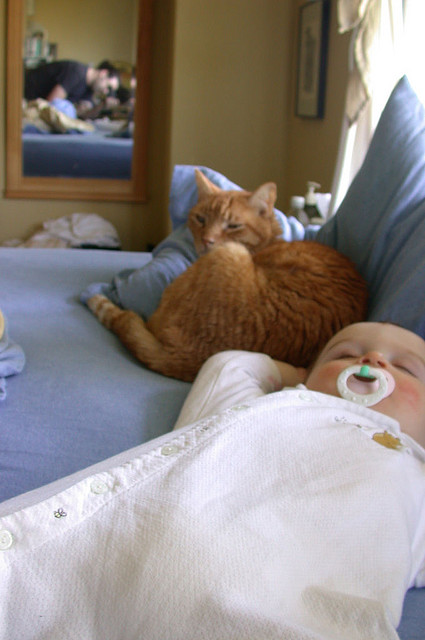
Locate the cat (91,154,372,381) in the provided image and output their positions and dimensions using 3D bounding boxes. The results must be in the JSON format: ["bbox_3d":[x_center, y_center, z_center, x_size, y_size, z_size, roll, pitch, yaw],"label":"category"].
[{"bbox_3d":[-0.003,-0.040,1.095,0.540,0.196,0.407,25,62,18],"label":"cat"}]

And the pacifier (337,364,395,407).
[{"bbox_3d":[0.200,0.084,0.683,0.072,0.042,0.058,12,21,20],"label":"pacifier"}]
